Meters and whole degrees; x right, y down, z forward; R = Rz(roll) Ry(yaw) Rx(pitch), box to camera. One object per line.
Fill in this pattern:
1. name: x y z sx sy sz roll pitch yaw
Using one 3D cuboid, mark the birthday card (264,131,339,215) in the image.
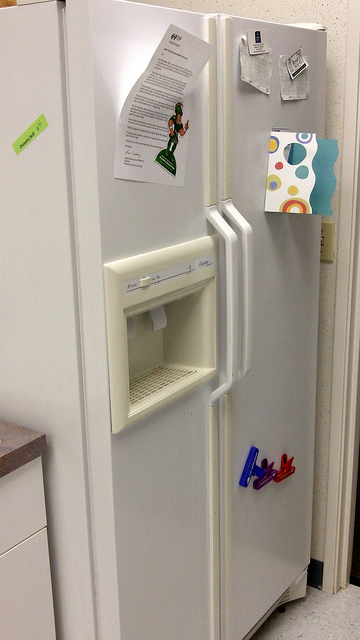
1. birthday card: 0.299 -0.371 1.307 0.183 0.220 0.009 4 6 2
